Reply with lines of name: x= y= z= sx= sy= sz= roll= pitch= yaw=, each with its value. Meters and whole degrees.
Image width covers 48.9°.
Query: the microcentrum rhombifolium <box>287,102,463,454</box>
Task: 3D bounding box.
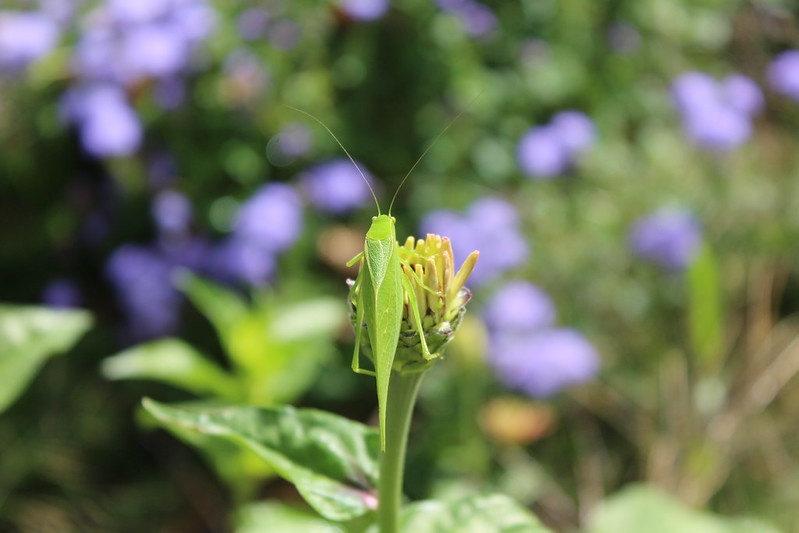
microcentrum rhombifolium: x=-0.018 y=0.041 z=1.061 sx=0.188 sy=0.069 sz=0.353 roll=-3 pitch=78 yaw=10
